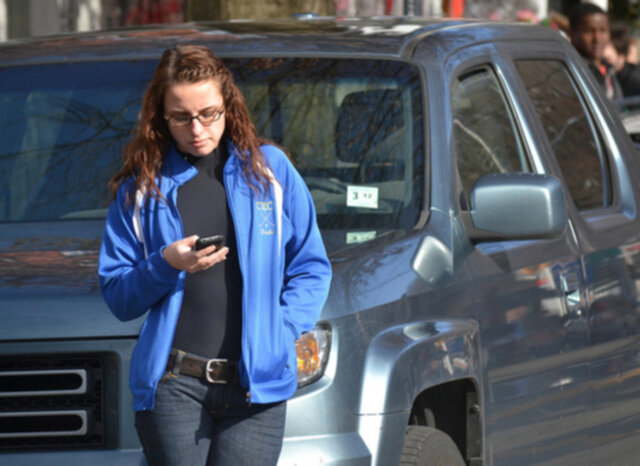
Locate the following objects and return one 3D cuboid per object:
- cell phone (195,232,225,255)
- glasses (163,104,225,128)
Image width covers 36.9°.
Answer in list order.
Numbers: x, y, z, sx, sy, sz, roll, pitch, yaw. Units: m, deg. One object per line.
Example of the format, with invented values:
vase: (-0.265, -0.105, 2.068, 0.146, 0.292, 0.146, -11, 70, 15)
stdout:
cell phone: (-0.366, 0.034, 3.293, 0.080, 0.049, 0.115, -4, -1, 30)
glasses: (-0.446, -0.409, 3.437, 0.196, 0.057, 0.044, -3, -1, -7)
